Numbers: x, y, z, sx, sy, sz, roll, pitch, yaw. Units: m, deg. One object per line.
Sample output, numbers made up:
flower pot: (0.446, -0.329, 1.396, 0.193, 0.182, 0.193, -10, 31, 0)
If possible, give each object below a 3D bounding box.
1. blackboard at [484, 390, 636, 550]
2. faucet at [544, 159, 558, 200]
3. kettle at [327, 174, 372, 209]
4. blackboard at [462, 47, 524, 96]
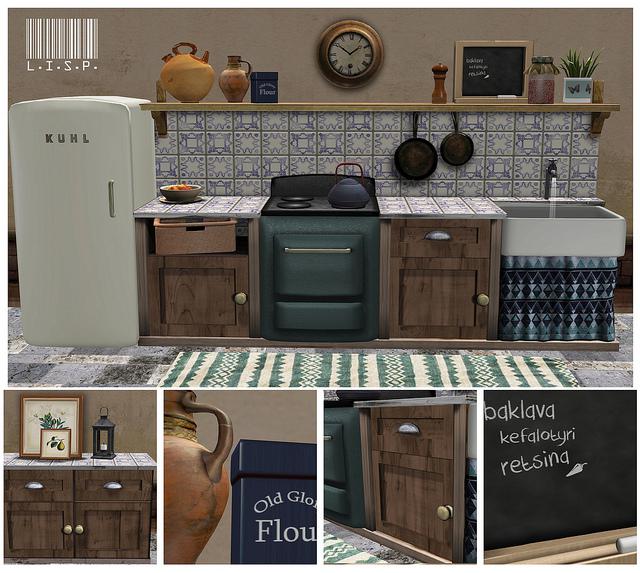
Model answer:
blackboard: (0.798, 0.581, 1.862, 0.568, 0.483, 0.121, -2, 4, -5)
faucet: (1.437, -0.662, 3.529, 0.067, 0.237, 0.079, -1, 4, 21)
kettle: (0.165, -0.539, 3.291, 0.237, 0.162, 0.236, -5, 12, 8)
blackboard: (1.107, -1.369, 3.621, 0.384, 0.314, 0.092, 8, 12, 12)
